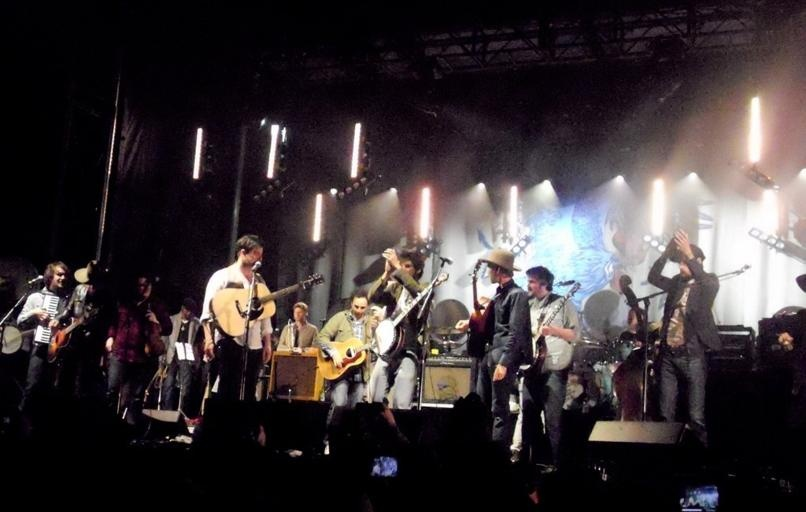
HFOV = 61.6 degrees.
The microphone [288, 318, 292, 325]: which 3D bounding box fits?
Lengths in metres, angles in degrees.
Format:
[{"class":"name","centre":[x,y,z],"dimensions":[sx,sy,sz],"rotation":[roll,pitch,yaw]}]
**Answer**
[{"class":"microphone","centre":[-2.372,1.385,14.184],"dimensions":[0.091,0.088,0.091],"rotation":[0,-1,7]}]

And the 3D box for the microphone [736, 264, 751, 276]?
[{"class":"microphone","centre":[6.207,0.264,12.301],"dimensions":[0.114,0.064,0.361],"rotation":[-6,-18,-40]}]

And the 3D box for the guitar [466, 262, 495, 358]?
[{"class":"guitar","centre":[1.111,0.850,9.627],"dimensions":[0.407,1.496,0.383],"rotation":[1,3,1]}]

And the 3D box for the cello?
[{"class":"cello","centre":[3.911,1.745,11.239],"dimensions":[0.851,2.614,0.814],"rotation":[-4,2,-8]}]

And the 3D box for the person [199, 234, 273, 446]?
[{"class":"person","centre":[-2.518,1.321,10.156],"dimensions":[0.912,3.394,1.357],"rotation":[-1,-7,42]}]

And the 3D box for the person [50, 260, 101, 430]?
[{"class":"person","centre":[-5.136,1.366,10.571],"dimensions":[0.621,2.287,0.583],"rotation":[1,-10,16]}]

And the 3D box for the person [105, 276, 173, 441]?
[{"class":"person","centre":[-4.343,1.518,10.718],"dimensions":[0.893,2.530,0.686],"rotation":[11,9,-4]}]

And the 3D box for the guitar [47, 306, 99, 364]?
[{"class":"guitar","centre":[-5.643,1.334,11.329],"dimensions":[1.168,0.481,0.166],"rotation":[-40,-24,13]}]

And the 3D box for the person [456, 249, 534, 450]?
[{"class":"person","centre":[1.262,1.128,9.274],"dimensions":[0.754,2.805,1.048],"rotation":[7,-7,-40]}]

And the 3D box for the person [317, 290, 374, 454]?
[{"class":"person","centre":[-0.907,1.855,10.775],"dimensions":[0.975,2.492,0.350],"rotation":[-2,-19,40]}]

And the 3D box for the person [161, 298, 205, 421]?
[{"class":"person","centre":[-4.391,2.015,13.312],"dimensions":[0.650,2.139,0.669],"rotation":[3,-3,12]}]

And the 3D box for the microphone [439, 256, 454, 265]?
[{"class":"microphone","centre":[0.692,0.069,10.579],"dimensions":[0.133,0.129,0.391],"rotation":[-6,-5,24]}]

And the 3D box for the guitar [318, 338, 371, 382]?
[{"class":"guitar","centre":[-0.933,1.642,10.681],"dimensions":[0.852,0.690,0.351],"rotation":[3,-11,2]}]
